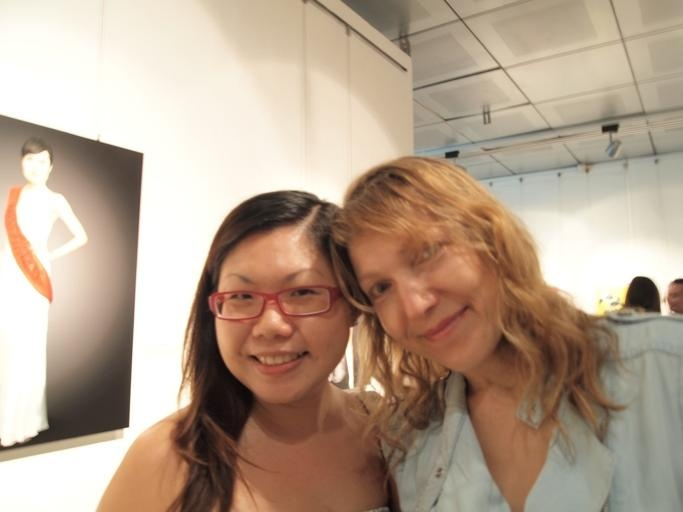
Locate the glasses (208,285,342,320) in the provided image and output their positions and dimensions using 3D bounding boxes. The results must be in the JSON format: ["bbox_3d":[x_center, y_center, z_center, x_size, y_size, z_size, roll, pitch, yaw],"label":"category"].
[{"bbox_3d":[-0.261,0.185,2.168,0.524,0.130,0.111,-3,-8,-4],"label":"glasses"}]
